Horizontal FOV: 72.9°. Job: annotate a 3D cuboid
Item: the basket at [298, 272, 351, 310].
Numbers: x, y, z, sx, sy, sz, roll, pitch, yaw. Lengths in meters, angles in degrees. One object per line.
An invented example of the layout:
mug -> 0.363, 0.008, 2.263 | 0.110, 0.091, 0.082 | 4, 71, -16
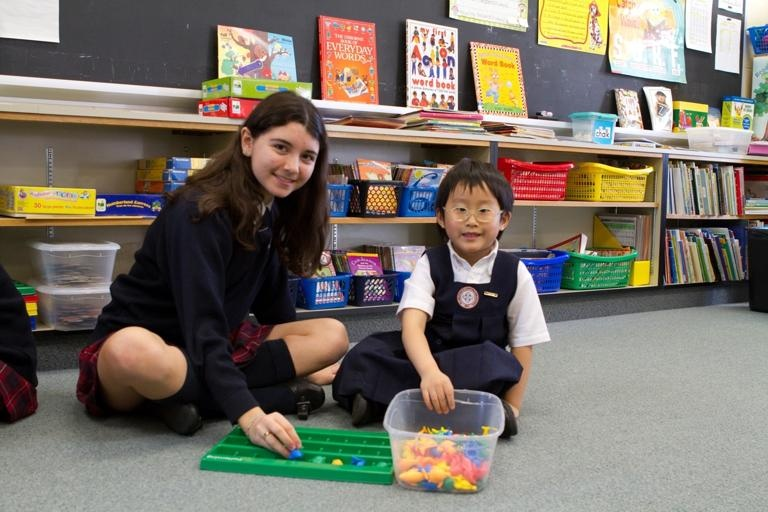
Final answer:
basket -> -0.283, 0.170, 2.469 | 0.214, 0.114, 0.145 | -3, 4, -35

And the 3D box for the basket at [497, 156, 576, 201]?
basket -> 0.868, -0.417, 3.011 | 0.414, 0.191, 0.320 | 0, 2, -17

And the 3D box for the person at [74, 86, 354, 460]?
person -> -0.507, 0.009, 1.594 | 0.764, 0.984, 0.557 | 3, 6, 16

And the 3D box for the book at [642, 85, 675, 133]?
book -> 1.941, -1.038, 3.707 | 0.364, 0.423, 0.064 | -7, -2, -31

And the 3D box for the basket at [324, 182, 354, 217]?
basket -> -0.208, -0.257, 2.463 | 0.133, 0.130, 0.188 | 1, 9, -2

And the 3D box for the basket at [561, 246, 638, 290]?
basket -> 1.292, 0.072, 3.058 | 0.267, 0.158, 0.355 | -1, 4, -14

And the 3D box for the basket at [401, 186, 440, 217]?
basket -> 0.177, -0.275, 2.705 | 0.148, 0.129, 0.207 | 1, 0, -10

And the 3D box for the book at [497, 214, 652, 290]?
book -> 1.204, -0.026, 3.197 | 0.819, 0.380, 0.470 | -4, 5, -36

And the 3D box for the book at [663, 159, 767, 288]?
book -> 2.202, -0.197, 3.485 | 0.905, 0.839, 0.344 | -1, 3, -29

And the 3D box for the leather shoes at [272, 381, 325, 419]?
leather shoes -> -0.259, 0.445, 1.635 | 0.122, 0.102, 0.094 | -12, 14, -6

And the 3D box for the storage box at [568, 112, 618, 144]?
storage box -> 1.292, -0.755, 3.226 | 0.269, 0.175, 0.212 | -5, 9, -41

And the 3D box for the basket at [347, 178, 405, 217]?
basket -> -0.019, -0.277, 2.540 | 0.175, 0.145, 0.222 | 1, 4, -24

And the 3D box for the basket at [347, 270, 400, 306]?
basket -> -0.044, 0.166, 2.566 | 0.207, 0.122, 0.137 | -3, 5, -34

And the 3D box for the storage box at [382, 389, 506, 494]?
storage box -> 0.153, 0.467, 1.326 | 0.300, 0.166, 0.258 | 2, 6, 5

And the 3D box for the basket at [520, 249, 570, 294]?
basket -> 0.904, 0.083, 2.977 | 0.287, 0.217, 0.327 | -5, 4, 3
